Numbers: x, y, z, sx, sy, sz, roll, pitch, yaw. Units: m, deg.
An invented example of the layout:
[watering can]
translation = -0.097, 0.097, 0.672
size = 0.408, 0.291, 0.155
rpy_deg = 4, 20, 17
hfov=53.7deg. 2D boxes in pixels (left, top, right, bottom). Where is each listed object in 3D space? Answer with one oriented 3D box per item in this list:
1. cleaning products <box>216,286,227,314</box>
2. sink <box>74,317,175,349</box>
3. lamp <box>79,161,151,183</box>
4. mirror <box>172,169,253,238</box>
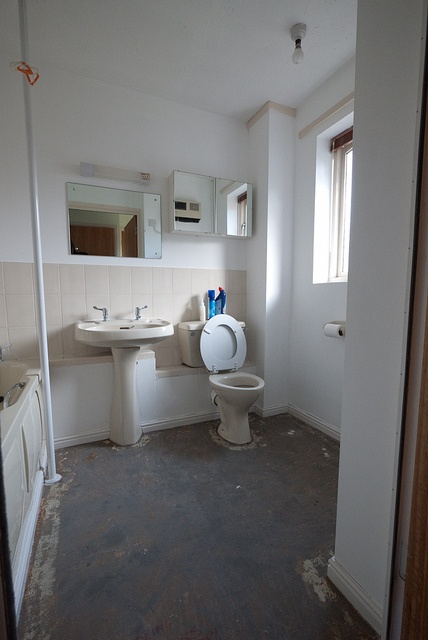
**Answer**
[cleaning products]
translation = 0.044, -0.133, 2.986
size = 0.064, 0.177, 0.062
rpy_deg = 5, 9, 27
[sink]
translation = -0.508, 0.095, 2.393
size = 0.533, 0.170, 0.478
rpy_deg = -3, 11, -19
[lamp]
translation = -0.588, -0.880, 2.542
size = 0.425, 0.083, 0.055
rpy_deg = -6, 11, -32
[mirror]
translation = -0.026, -0.774, 2.835
size = 0.374, 0.308, 0.057
rpy_deg = -2, 5, -31
